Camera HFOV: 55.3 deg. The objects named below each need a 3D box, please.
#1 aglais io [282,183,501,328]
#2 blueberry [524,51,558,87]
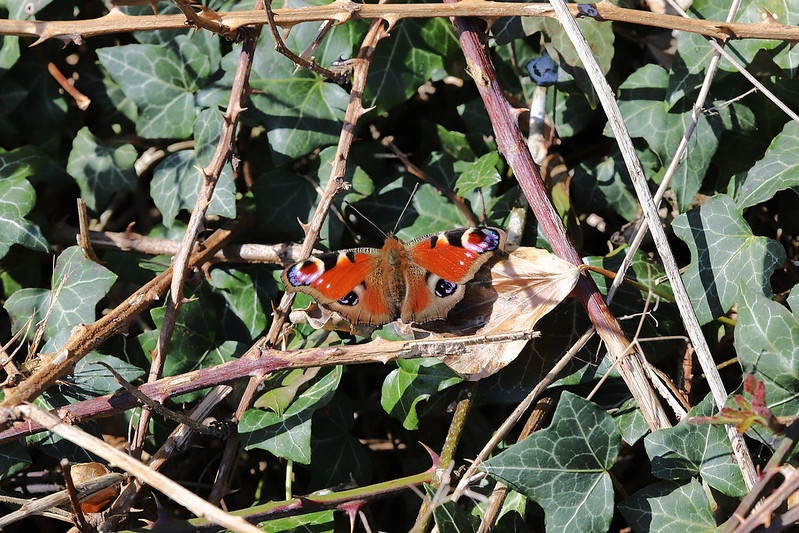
[{"bbox_3d":[-0.023,0.014,2.614,0.542,0.399,0.058,-10,-17,15],"label":"aglais io"},{"bbox_3d":[0.522,-0.710,2.751,0.095,0.118,0.055,18,20,12],"label":"blueberry"}]
